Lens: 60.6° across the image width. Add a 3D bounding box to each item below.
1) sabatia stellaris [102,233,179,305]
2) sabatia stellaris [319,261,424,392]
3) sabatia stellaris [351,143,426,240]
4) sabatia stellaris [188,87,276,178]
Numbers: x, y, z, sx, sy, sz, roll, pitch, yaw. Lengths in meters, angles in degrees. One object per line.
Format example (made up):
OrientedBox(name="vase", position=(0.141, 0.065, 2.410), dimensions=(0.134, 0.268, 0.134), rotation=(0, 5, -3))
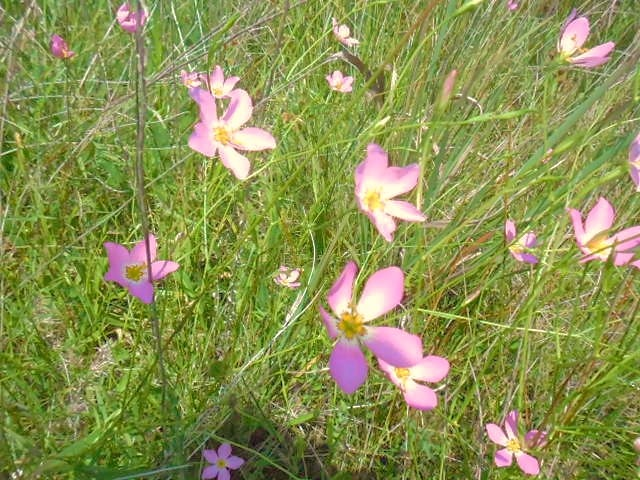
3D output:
OrientedBox(name="sabatia stellaris", position=(-0.467, 0.093, 1.402), dimensions=(0.055, 0.179, 0.203), rotation=(22, 81, -39))
OrientedBox(name="sabatia stellaris", position=(0.095, 0.200, 1.294), dimensions=(0.256, 0.099, 0.283), rotation=(-38, 103, -29))
OrientedBox(name="sabatia stellaris", position=(0.155, -0.125, 1.396), dimensions=(0.204, 0.090, 0.235), rotation=(27, 71, -27))
OrientedBox(name="sabatia stellaris", position=(-0.245, -0.278, 1.460), dimensions=(0.203, 0.076, 0.266), rotation=(23, 66, -19))
